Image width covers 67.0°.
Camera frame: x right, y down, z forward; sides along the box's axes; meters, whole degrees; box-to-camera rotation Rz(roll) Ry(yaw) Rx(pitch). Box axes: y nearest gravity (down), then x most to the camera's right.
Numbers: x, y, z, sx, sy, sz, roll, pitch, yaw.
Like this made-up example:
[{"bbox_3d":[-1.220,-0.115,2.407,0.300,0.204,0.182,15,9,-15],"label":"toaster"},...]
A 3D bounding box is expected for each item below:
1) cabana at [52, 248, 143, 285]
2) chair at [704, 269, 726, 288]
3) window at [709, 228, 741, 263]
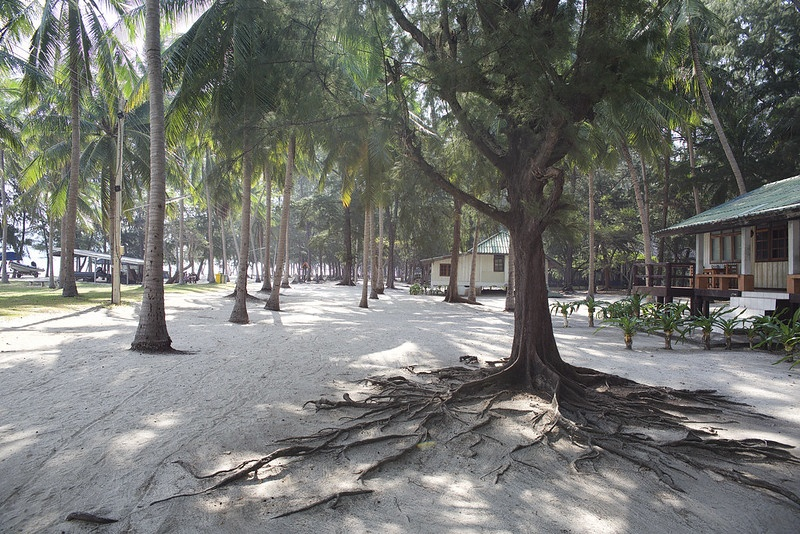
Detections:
[{"bbox_3d":[-24.696,0.062,51.241,5.172,2.712,10.946,0,0,-26],"label":"cabana"},{"bbox_3d":[12.562,0.453,23.996,0.530,0.672,0.608,-1,7,6],"label":"chair"},{"bbox_3d":[13.858,-0.767,25.504,0.100,1.339,1.606,4,-4,-26],"label":"window"}]
